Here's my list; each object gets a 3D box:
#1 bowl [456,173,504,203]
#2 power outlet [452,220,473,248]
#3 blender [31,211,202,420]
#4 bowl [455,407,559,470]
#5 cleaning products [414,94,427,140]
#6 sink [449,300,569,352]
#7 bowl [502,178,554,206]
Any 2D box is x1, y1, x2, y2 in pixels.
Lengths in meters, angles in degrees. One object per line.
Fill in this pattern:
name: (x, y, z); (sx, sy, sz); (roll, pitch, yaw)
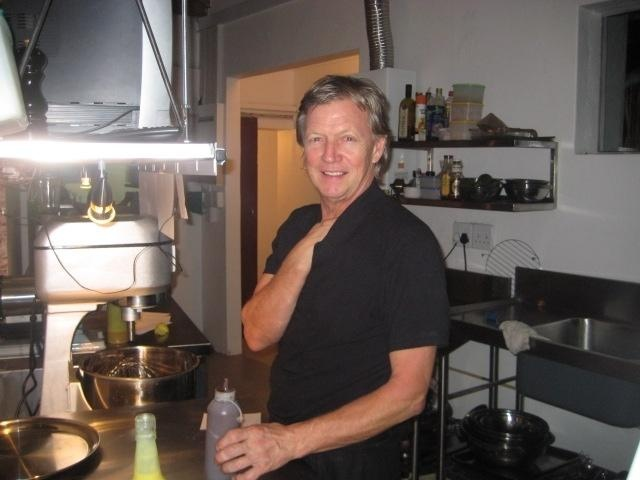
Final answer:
bowl: (0.861, -0.279, 3.038); (0.151, 0.091, 0.195); (-2, 6, -20)
power outlet: (0.854, -0.044, 3.370); (0.031, 0.131, 0.133); (1, 4, -34)
blender: (-0.920, 0.136, 2.746); (0.804, 1.069, 0.475); (-4, 9, -26)
bowl: (0.928, 0.985, 2.798); (0.426, 0.203, 0.322); (2, 9, 23)
cleaning products: (0.590, -0.710, 3.301); (0.062, 0.259, 0.061); (2, 8, 15)
sink: (0.879, 0.403, 2.803); (0.297, 0.088, 0.322); (-7, 13, -20)
bowl: (1.070, -0.250, 2.915); (0.218, 0.125, 0.112); (1, 8, 19)
